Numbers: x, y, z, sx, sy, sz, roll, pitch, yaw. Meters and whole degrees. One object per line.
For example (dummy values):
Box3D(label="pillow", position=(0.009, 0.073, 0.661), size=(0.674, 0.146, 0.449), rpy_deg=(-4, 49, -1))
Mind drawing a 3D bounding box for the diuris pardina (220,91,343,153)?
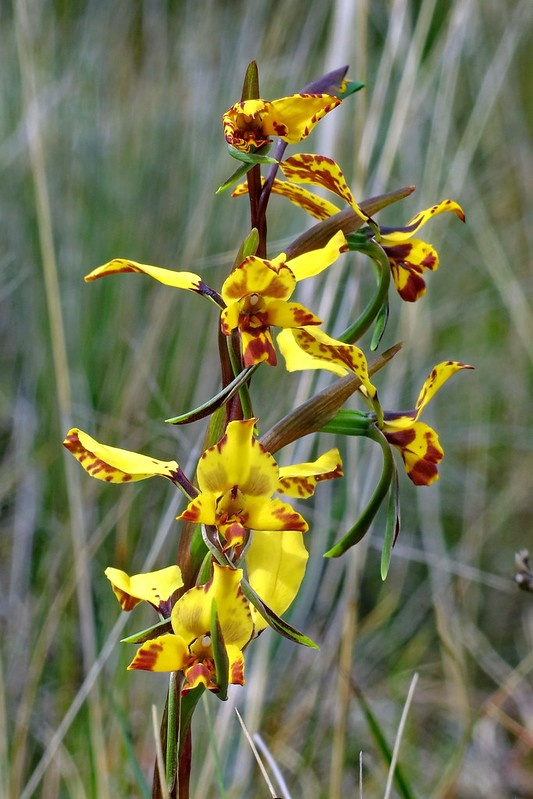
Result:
Box3D(label="diuris pardina", position=(0.012, -0.291, 1.072), size=(0.108, 0.044, 0.063), rpy_deg=(-18, 57, -9))
